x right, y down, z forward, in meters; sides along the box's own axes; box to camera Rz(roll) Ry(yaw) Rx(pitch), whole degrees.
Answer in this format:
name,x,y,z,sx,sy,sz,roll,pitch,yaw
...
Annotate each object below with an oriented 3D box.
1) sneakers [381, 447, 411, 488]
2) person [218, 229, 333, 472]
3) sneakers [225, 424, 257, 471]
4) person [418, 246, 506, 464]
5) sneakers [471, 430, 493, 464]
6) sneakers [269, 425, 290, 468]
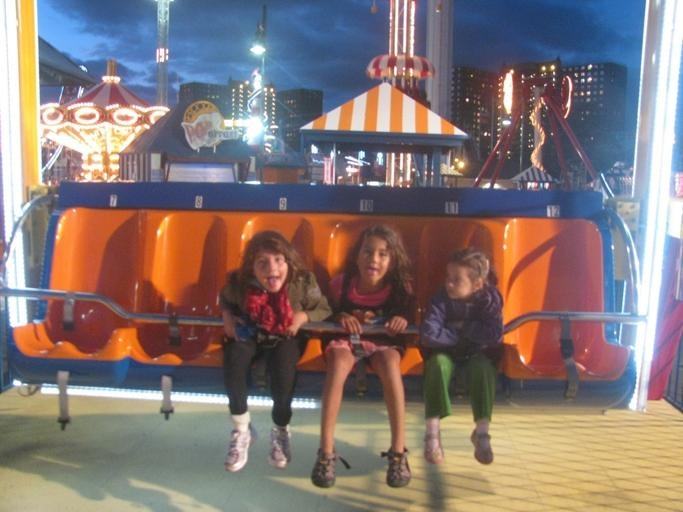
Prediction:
name,x,y,z,sx,sy,sz,roll,pitch,yaw
sneakers,0.310,1.182,3.853,0.150,0.128,0.314,1,15,3
person,-0.430,0.452,4.166,0.624,1.463,0.651,2,-38,-10
sneakers,-0.588,1.111,3.944,0.107,0.158,0.341,-1,9,2
person,0.706,0.559,4.034,0.483,1.136,0.670,3,13,10
sneakers,0.817,1.086,3.930,0.107,0.143,0.326,2,14,3
sneakers,-0.362,1.126,3.949,0.113,0.272,0.133,-1,13,-7
